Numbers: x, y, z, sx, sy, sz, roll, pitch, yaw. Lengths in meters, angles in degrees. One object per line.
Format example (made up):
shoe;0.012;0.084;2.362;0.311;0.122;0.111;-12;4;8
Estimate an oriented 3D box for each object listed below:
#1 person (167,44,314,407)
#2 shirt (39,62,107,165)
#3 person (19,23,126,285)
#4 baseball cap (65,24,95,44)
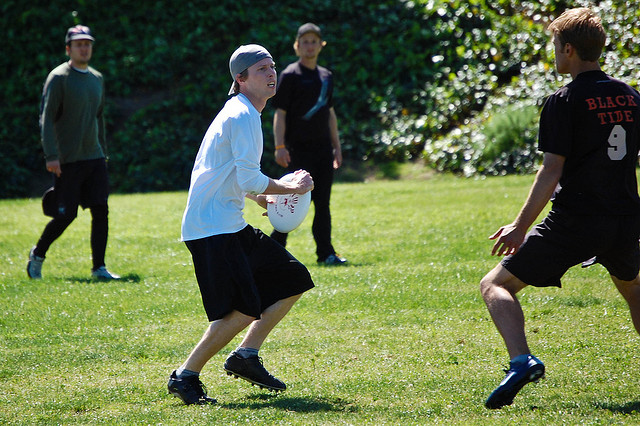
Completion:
person;-0.891;0.125;11.889;1.502;3.818;0.818;0;9;-8
shirt;-3.273;-1.313;14.543;0.915;1.320;0.469;-3;10;-25
person;-3.289;-0.766;14.575;1.094;3.371;0.596;-1;10;-15
baseball cap;-3.256;-2.381;14.636;0.283;0.208;0.382;-3;7;-23
